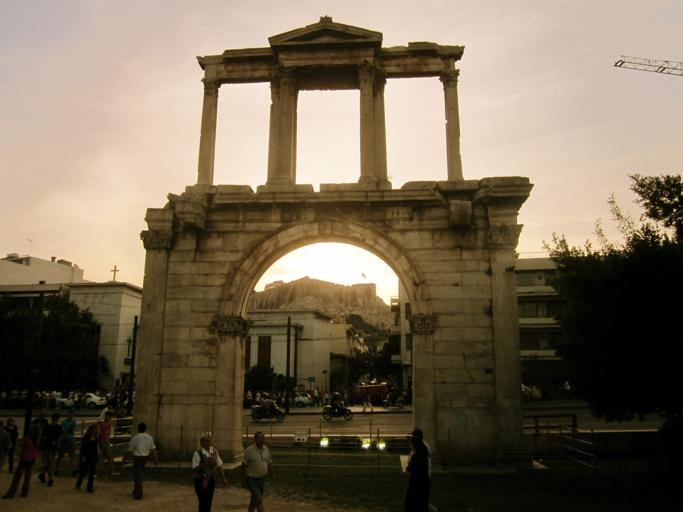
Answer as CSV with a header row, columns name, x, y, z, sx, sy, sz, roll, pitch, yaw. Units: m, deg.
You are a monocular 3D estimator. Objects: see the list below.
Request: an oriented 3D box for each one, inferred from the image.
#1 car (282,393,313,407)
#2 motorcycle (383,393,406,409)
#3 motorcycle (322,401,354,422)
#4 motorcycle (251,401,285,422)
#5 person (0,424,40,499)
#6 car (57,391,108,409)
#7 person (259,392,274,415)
name,x,y,z,sx,sy,sz,roll,pitch,yaw
car,-3.248,11.259,51.782,1.860,0.846,1.053,4,-10,-3
motorcycle,3.832,10.621,48.125,1.567,0.946,0.839,7,-24,-10
motorcycle,-0.307,9.151,38.828,1.515,0.931,0.850,-1,-4,-3
motorcycle,-4.369,9.081,38.831,1.944,1.182,0.987,-1,-7,2
person,-9.093,5.826,18.958,0.722,1.891,1.555,5,-13,-23
car,-18.127,10.076,46.280,4.091,1.053,2.320,-7,-14,30
person,-4.367,8.828,39.224,0.919,1.010,1.576,0,-2,13
